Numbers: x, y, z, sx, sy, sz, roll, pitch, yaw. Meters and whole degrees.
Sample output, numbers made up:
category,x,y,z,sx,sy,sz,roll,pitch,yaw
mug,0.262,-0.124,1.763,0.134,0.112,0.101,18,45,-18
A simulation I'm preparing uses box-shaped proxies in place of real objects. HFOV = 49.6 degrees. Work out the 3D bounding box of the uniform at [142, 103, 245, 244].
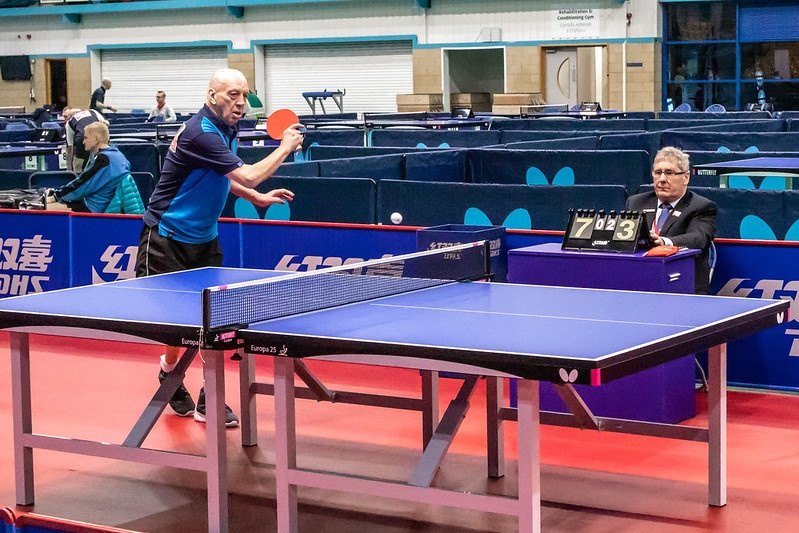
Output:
category,x,y,z,sx,sy,sz,roll,pitch,yaw
uniform,-1.237,-0.576,5.474,0.741,0.888,0.366,5,11,25

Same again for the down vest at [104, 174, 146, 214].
category,x,y,z,sx,sy,sz,roll,pitch,yaw
down vest,-2.771,-0.748,8.979,0.371,0.453,0.447,0,6,3

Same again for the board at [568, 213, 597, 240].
category,x,y,z,sx,sy,sz,roll,pitch,yaw
board,1.200,-0.264,5.683,0.165,0.213,0.023,5,-26,36

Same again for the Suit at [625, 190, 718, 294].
category,x,y,z,sx,sy,sz,roll,pitch,yaw
Suit,1.909,-0.178,6.249,0.722,0.819,0.640,15,-10,-43

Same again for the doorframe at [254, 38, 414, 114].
category,x,y,z,sx,sy,sz,roll,pitch,yaw
doorframe,-1.963,-6.462,28.778,6.283,3.089,0.118,3,12,22

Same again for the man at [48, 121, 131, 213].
category,x,y,z,sx,sy,sz,roll,pitch,yaw
man,-3.159,-0.812,8.857,0.725,1.279,0.566,5,3,-11

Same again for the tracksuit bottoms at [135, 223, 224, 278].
category,x,y,z,sx,sy,sz,roll,pitch,yaw
tracksuit bottoms,-1.416,-0.241,5.655,0.556,0.526,0.302,-2,8,-38

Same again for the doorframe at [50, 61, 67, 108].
category,x,y,z,sx,sy,sz,roll,pitch,yaw
doorframe,-12.995,-7.064,33.260,0.881,1.850,0.278,6,12,32

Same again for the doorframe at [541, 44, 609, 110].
category,x,y,z,sx,sy,sz,roll,pitch,yaw
doorframe,5.307,-5.749,26.388,2.074,2.442,0.096,2,47,15
